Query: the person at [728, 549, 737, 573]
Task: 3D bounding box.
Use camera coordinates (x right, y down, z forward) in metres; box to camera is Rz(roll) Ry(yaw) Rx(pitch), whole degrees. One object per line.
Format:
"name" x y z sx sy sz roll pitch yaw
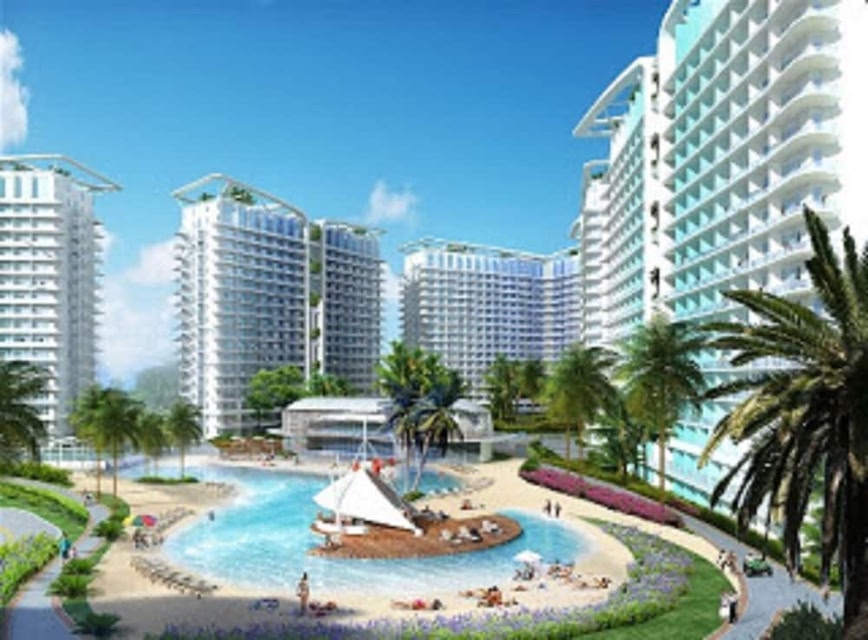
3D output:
"person" 19.912 16.114 49.908 0.534 1.349 1.304 0 -1 21

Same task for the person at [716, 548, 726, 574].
"person" 19.513 16.115 50.409 0.606 1.317 2.157 0 -1 20

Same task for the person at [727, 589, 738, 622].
"person" 17.124 16.477 42.692 0.452 1.487 1.099 0 -1 23

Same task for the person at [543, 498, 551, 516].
"person" 9.976 16.348 65.293 0.684 1.098 1.644 0 -1 7

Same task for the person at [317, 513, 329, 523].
"person" -9.218 16.492 61.907 0.809 0.432 1.091 0 -7 16

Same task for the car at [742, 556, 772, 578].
"car" 21.324 16.268 49.133 1.748 0.930 2.231 -1 -1 24

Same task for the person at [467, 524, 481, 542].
"person" 3.172 16.453 57.461 0.851 0.670 2.051 0 -1 -3
